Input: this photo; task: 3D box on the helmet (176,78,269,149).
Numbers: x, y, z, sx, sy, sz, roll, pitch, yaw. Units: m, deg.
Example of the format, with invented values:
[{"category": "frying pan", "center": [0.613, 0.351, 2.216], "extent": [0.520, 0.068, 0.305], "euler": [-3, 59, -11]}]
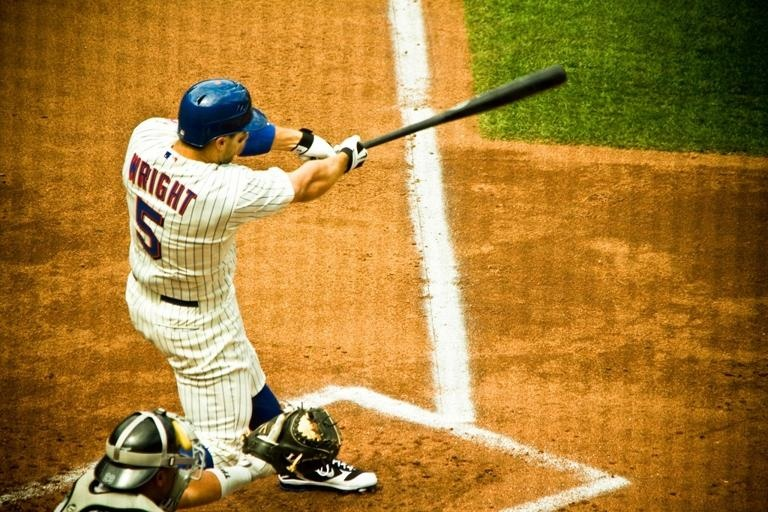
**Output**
[{"category": "helmet", "center": [-1.280, -1.168, 8.441], "extent": [0.667, 0.314, 0.447], "euler": [-22, 50, -22]}]

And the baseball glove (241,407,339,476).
[{"category": "baseball glove", "center": [-0.744, 1.491, 8.807], "extent": [0.864, 0.400, 0.441], "euler": [3, 43, -15]}]
